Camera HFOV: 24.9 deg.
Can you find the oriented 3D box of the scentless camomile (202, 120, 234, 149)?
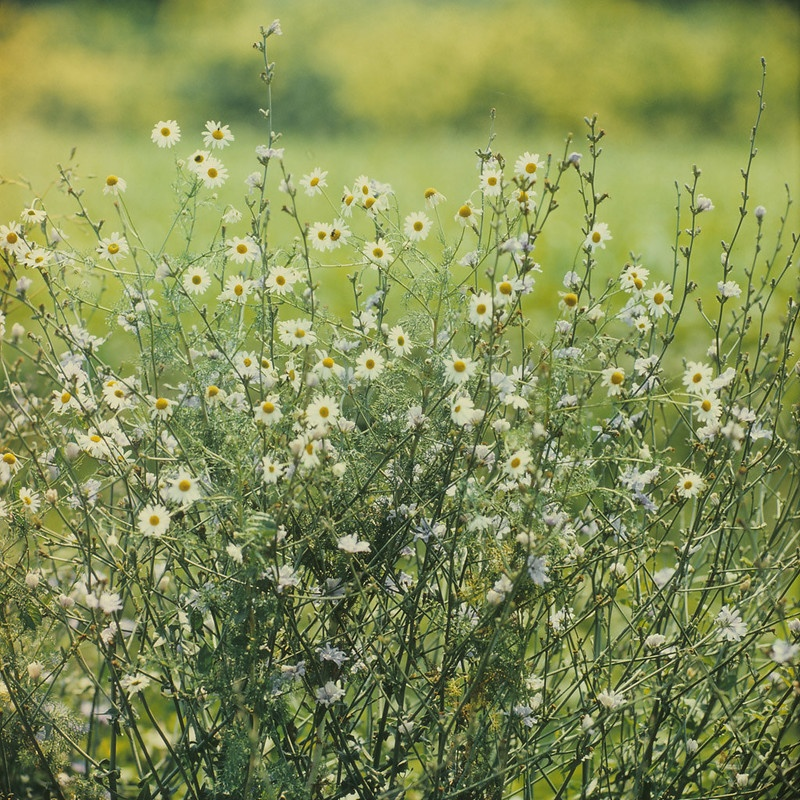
[{"bbox_3d":[-0.663,-0.942,6.554,0.103,0.127,0.226,3,18,-10],"label":"scentless camomile"}]

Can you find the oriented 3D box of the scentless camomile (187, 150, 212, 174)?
[{"bbox_3d":[-0.717,-0.838,6.496,0.089,0.078,0.043,1,15,-17],"label":"scentless camomile"}]

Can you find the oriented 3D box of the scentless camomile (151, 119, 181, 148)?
[{"bbox_3d":[-0.850,-0.941,6.549,0.098,0.120,0.198,3,17,-9],"label":"scentless camomile"}]

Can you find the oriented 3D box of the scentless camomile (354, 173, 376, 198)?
[{"bbox_3d":[-0.127,-0.756,6.510,0.060,0.088,0.028,5,6,-3],"label":"scentless camomile"}]
